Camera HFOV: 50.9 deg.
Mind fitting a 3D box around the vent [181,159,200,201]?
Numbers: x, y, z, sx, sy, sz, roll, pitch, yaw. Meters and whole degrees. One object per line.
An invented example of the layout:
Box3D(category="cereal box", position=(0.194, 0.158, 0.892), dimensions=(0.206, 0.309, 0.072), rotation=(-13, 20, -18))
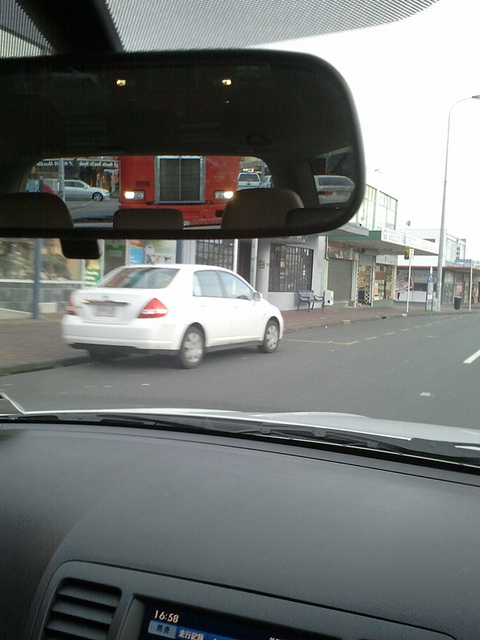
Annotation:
Box3D(category="vent", position=(-0.167, -0.479, 1.702), dimensions=(0.069, 0.019, 0.188), rotation=(-3, -32, -8))

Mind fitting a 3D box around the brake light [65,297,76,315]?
Box3D(category="brake light", position=(-2.376, -0.179, 7.296), dimensions=(0.164, 0.399, 0.202), rotation=(0, 4, 3))
